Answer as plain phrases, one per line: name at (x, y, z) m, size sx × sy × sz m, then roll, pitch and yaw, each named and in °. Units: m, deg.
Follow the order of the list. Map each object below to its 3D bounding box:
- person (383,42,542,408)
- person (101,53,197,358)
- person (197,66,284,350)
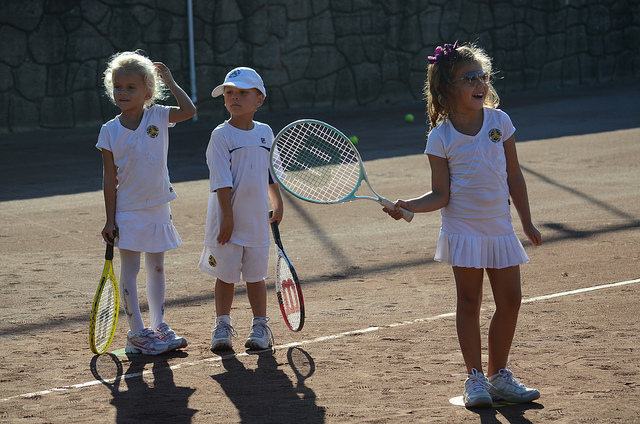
person at (1.473, 0.113, 9.260) m, size 1.094 × 3.356 × 0.914 m, roll 0°, pitch 12°, yaw 21°
person at (-1.801, -0.085, 10.175) m, size 0.994 × 3.083 × 0.798 m, roll -11°, pitch 13°, yaw -33°
person at (-0.845, -0.023, 10.150) m, size 0.913 × 2.869 × 0.660 m, roll -6°, pitch 11°, yaw -8°
